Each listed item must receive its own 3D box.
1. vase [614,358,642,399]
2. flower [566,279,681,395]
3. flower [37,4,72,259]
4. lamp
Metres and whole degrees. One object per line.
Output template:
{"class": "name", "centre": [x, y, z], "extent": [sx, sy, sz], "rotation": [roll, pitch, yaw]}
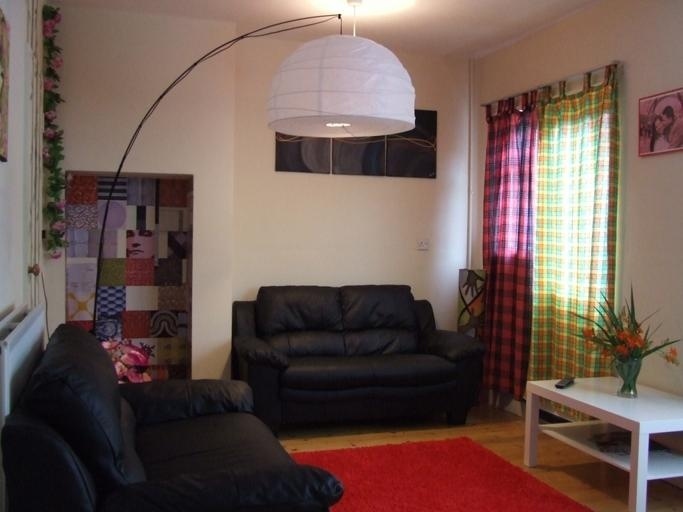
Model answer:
{"class": "vase", "centre": [1.925, 0.812, 3.754], "extent": [0.160, 0.256, 0.155], "rotation": [4, 6, 33]}
{"class": "flower", "centre": [1.941, 0.605, 3.977], "extent": [0.519, 0.753, 0.720], "rotation": [1, -7, -2]}
{"class": "flower", "centre": [-2.375, -1.030, 4.556], "extent": [0.183, 2.071, 0.287], "rotation": [-2, 6, -27]}
{"class": "lamp", "centre": [-0.698, -0.537, 3.713], "extent": [2.134, 2.088, 0.849], "rotation": [1, 2, 12]}
